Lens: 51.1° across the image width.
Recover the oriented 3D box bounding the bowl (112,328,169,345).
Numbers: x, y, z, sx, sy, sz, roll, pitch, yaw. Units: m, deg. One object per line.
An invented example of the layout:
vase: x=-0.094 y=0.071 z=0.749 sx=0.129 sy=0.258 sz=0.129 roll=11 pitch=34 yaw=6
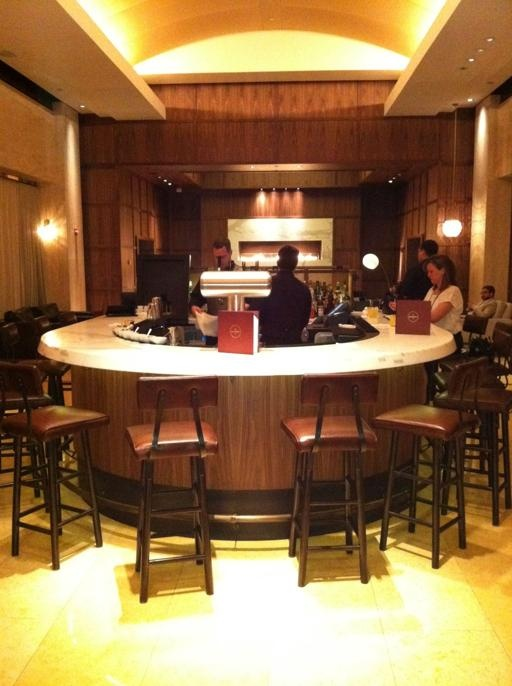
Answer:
bowl: x=-0.680 y=-0.031 z=3.095 sx=0.539 sy=0.071 sz=0.194 roll=4 pitch=6 yaw=43

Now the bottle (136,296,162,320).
bottle: x=-0.777 y=-0.231 z=3.731 sx=0.119 sy=0.145 sz=0.369 roll=5 pitch=-6 yaw=-22
